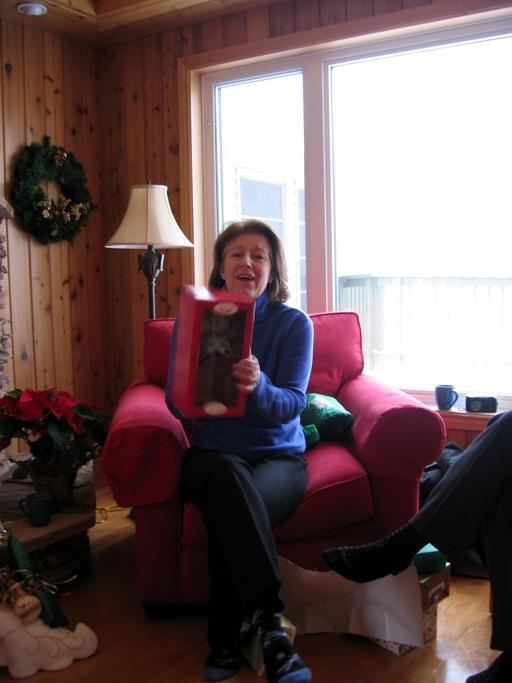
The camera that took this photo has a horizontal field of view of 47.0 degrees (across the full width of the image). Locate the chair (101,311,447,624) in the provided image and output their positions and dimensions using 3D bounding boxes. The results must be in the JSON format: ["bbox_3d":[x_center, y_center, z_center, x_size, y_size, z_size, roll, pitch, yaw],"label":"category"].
[{"bbox_3d":[0.010,0.439,1.956,1.156,0.912,0.844,-1,2,-10],"label":"chair"}]

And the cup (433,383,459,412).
[{"bbox_3d":[0.777,0.229,2.393,0.071,0.103,0.108,2,0,-20],"label":"cup"}]

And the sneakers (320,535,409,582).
[{"bbox_3d":[0.269,0.541,1.450,0.208,0.146,0.075,4,40,8],"label":"sneakers"}]

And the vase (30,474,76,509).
[{"bbox_3d":[-0.630,0.457,1.887,0.133,0.122,0.117,2,2,15],"label":"vase"}]

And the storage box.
[{"bbox_3d":[-0.117,0.034,1.437,0.181,0.339,0.314,-2,3,-12],"label":"storage box"}]
